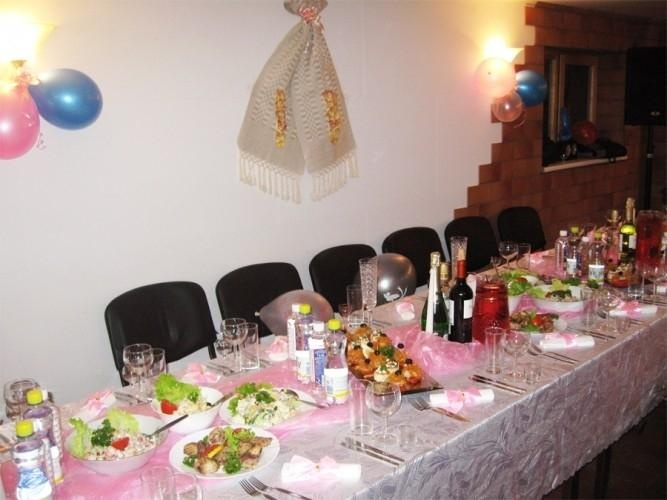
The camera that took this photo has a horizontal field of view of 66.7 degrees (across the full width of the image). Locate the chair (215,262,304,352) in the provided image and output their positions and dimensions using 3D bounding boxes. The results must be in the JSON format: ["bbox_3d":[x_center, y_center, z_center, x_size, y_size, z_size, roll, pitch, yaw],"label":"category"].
[{"bbox_3d":[-0.517,0.269,3.399,0.478,0.701,0.442,-13,17,-36],"label":"chair"}]

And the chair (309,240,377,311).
[{"bbox_3d":[0.048,0.131,3.651,0.376,0.577,0.439,-9,13,-29],"label":"chair"}]

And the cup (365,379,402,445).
[{"bbox_3d":[0.163,0.502,1.681,0.107,0.205,0.183,-5,9,2],"label":"cup"}]

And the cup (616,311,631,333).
[{"bbox_3d":[1.297,0.333,2.294,0.060,0.075,0.063,-1,1,0],"label":"cup"}]

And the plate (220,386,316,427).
[{"bbox_3d":[-0.229,0.531,1.772,0.327,0.108,0.186,-9,9,-14],"label":"plate"}]

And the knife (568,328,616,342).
[{"bbox_3d":[1.165,0.377,2.298,0.185,0.011,0.051,10,31,36],"label":"knife"}]

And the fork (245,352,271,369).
[{"bbox_3d":[-0.325,0.475,2.179,0.040,0.019,0.184,16,-3,-25],"label":"fork"}]

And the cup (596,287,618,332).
[{"bbox_3d":[1.277,0.286,2.382,0.108,0.198,0.122,8,29,33],"label":"cup"}]

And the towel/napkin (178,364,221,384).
[{"bbox_3d":[-0.512,0.479,1.992,0.091,0.038,0.101,8,16,-8],"label":"towel/napkin"}]

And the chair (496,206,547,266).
[{"bbox_3d":[1.556,-0.121,4.259,0.333,0.471,0.373,-15,25,-20],"label":"chair"}]

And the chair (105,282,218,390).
[{"bbox_3d":[-0.965,0.343,2.995,0.555,0.803,0.470,-11,14,-37],"label":"chair"}]

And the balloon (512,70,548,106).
[{"bbox_3d":[1.814,-1.521,4.745,0.288,0.328,0.364,10,41,7],"label":"balloon"}]

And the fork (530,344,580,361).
[{"bbox_3d":[0.931,0.435,2.133,0.166,0.026,0.058,16,33,33],"label":"fork"}]

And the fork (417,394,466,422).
[{"bbox_3d":[0.363,0.561,1.786,0.055,0.028,0.217,-37,32,-31],"label":"fork"}]

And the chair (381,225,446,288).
[{"bbox_3d":[0.617,0.051,4.265,0.437,0.628,0.480,-4,0,-26],"label":"chair"}]

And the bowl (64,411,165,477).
[{"bbox_3d":[-0.670,0.608,1.585,0.281,0.116,0.219,-6,9,2],"label":"bowl"}]

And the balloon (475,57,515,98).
[{"bbox_3d":[1.436,-1.518,4.463,0.355,0.329,0.212,-11,10,-29],"label":"balloon"}]

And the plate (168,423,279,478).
[{"bbox_3d":[-0.326,0.603,1.518,0.176,0.054,0.188,-6,11,-22],"label":"plate"}]

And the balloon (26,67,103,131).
[{"bbox_3d":[-1.325,-0.764,2.608,0.302,0.254,0.247,18,38,5],"label":"balloon"}]

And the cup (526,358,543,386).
[{"bbox_3d":[0.784,0.478,1.995,0.064,0.082,0.069,0,-5,0],"label":"cup"}]

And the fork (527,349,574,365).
[{"bbox_3d":[0.898,0.442,2.131,0.191,0.030,0.053,10,22,40],"label":"fork"}]

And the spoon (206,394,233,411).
[{"bbox_3d":[-0.394,0.530,1.778,0.025,0.012,0.081,17,27,22],"label":"spoon"}]

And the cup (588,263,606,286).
[{"bbox_3d":[1.394,0.127,2.703,0.072,0.125,0.072,-11,20,4],"label":"cup"}]

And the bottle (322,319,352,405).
[{"bbox_3d":[0.002,0.388,1.901,0.101,0.284,0.253,-6,9,0],"label":"bottle"}]

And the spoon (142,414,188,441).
[{"bbox_3d":[-0.536,0.561,1.631,0.141,0.020,0.045,-37,41,-25],"label":"spoon"}]

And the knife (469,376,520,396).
[{"bbox_3d":[0.595,0.501,1.938,0.224,0.018,0.055,8,29,38],"label":"knife"}]

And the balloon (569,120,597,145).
[{"bbox_3d":[2.948,-1.399,6.042,0.252,0.280,0.162,31,16,-3],"label":"balloon"}]

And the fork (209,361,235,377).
[{"bbox_3d":[-0.467,0.485,2.134,0.137,0.007,0.046,17,27,37],"label":"fork"}]

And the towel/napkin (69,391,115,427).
[{"bbox_3d":[-0.872,0.567,1.862,0.130,0.043,0.119,-28,23,-36],"label":"towel/napkin"}]
